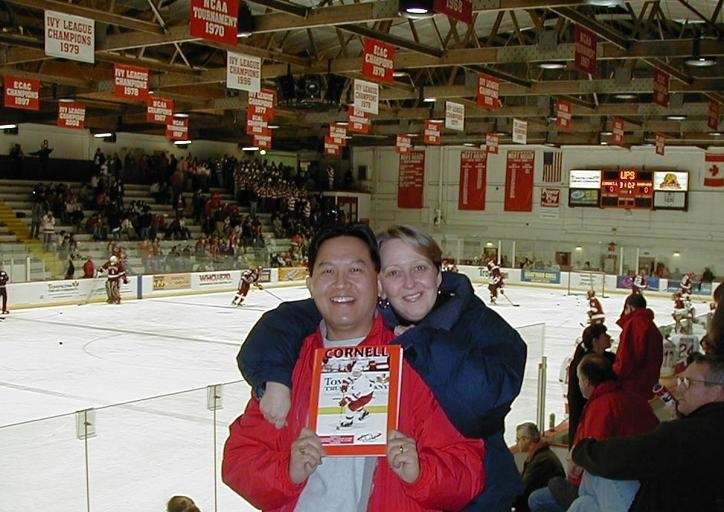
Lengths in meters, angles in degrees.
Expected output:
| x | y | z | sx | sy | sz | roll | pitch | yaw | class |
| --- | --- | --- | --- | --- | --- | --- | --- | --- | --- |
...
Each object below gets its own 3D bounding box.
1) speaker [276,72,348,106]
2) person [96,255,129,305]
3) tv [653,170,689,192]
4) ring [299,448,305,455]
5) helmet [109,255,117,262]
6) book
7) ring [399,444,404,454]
| x | y | z | sx | sy | sz | roll | pitch | yaw | class |
| --- | --- | --- | --- | --- | --- | --- | --- | --- | --- |
| -1.711 | -5.412 | 20.559 | 1.311 | 0.509 | 1.388 | -2 | 3 | -27 | speaker |
| -10.460 | 0.971 | 26.616 | 1.163 | 2.031 | 1.572 | 0 | 2 | -22 | person |
| 17.845 | -4.340 | 36.645 | 2.152 | 1.134 | 1.364 | 3 | -16 | 14 | tv |
| -0.279 | 0.915 | 2.978 | 0.021 | 0.010 | 0.029 | 15 | -11 | -10 | ring |
| -10.211 | 0.100 | 26.053 | 0.233 | 0.257 | 0.430 | 1 | 1 | -4 | helmet |
| -0.014 | 0.705 | 3.037 | 0.531 | 0.597 | 0.083 | 2 | 0 | 8 | book |
| 0.184 | 0.890 | 2.926 | 0.020 | 0.033 | 0.013 | 1 | 2 | 4 | ring |
